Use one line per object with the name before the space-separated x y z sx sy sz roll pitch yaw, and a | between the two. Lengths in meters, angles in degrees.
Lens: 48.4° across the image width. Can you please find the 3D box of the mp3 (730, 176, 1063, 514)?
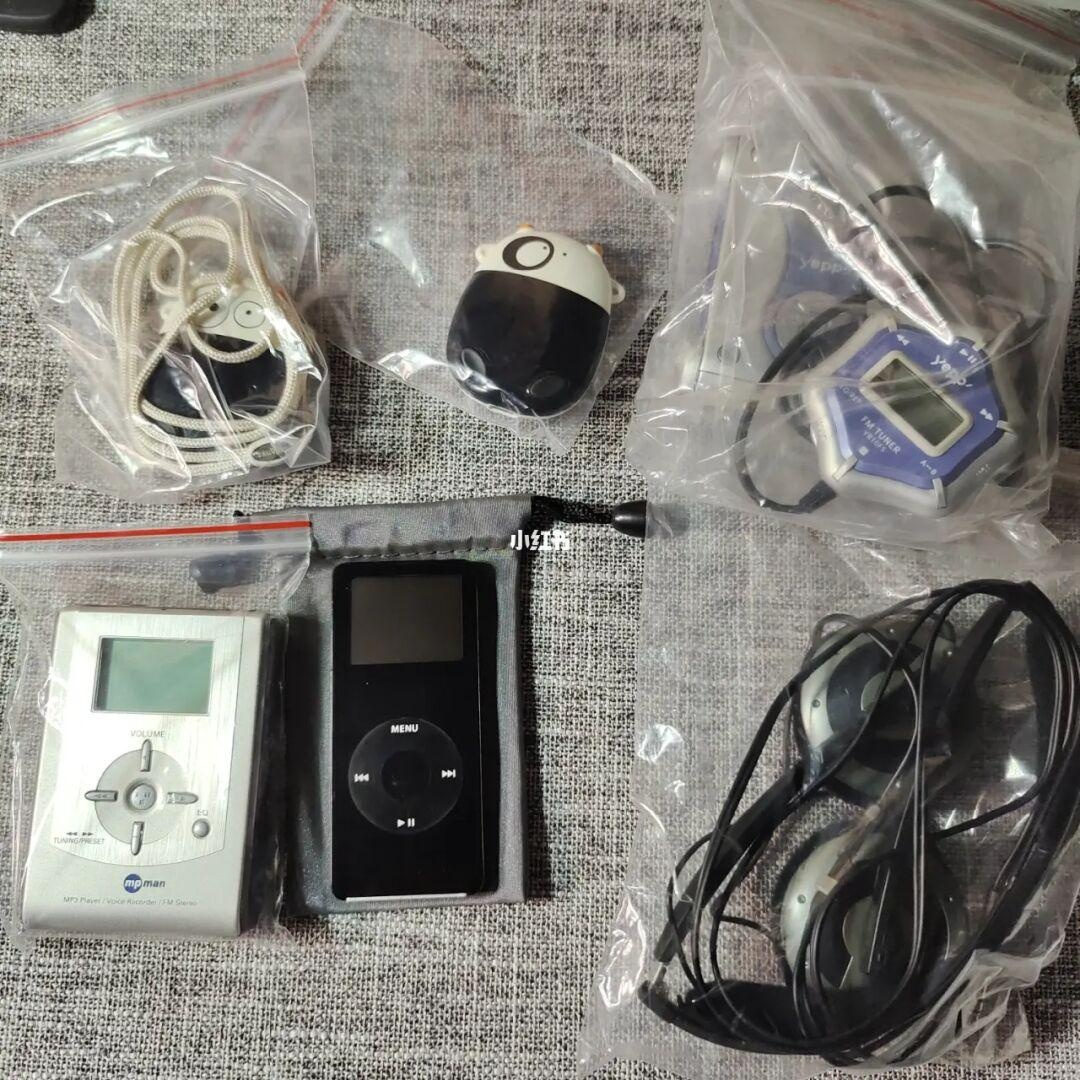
mp3 | 0.209 -0.090 0.696 0.165 0.121 0.155 27 64 6

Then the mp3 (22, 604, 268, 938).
mp3 | -0.233 0.137 0.715 0.127 0.073 0.173 5 64 -5

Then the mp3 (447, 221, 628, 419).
mp3 | -0.005 -0.136 0.752 0.094 0.059 0.103 20 63 2
